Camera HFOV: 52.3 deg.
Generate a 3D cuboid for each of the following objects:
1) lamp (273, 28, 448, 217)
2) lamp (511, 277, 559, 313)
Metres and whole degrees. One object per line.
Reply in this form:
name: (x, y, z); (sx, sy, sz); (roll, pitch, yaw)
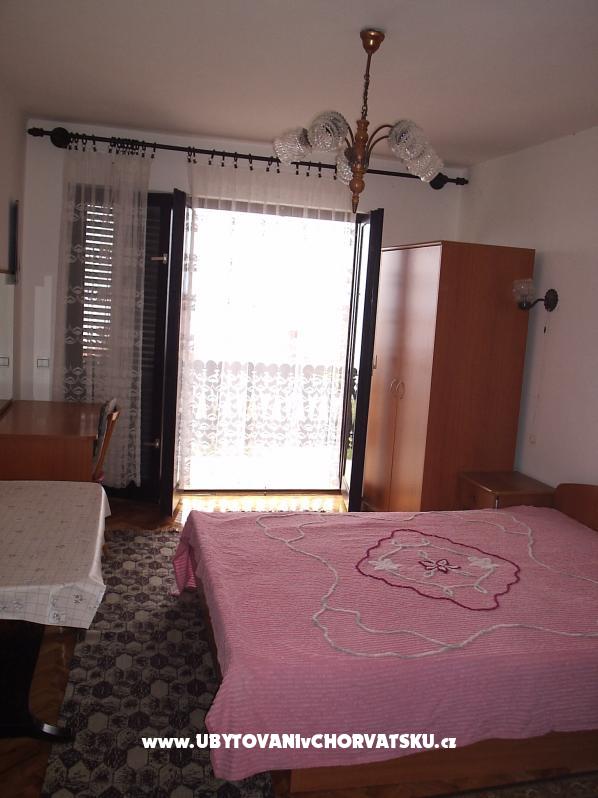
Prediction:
lamp: (0.234, -1.054, 2.292); (0.548, 0.612, 0.537); (2, 6, -32)
lamp: (1.338, -0.588, 3.450); (0.232, 0.169, 0.175); (1, 6, -13)
